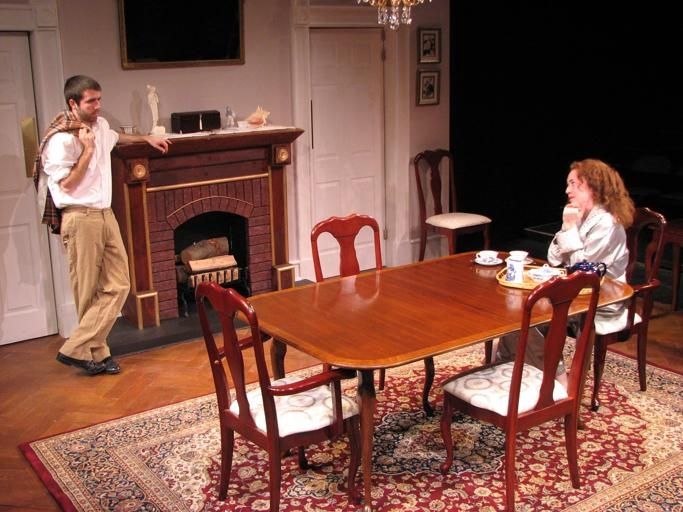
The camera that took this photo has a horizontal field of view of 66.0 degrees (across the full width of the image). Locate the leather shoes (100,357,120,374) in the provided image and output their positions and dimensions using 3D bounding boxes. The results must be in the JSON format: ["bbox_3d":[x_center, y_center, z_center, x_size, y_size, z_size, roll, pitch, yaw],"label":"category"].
[{"bbox_3d":[-1.783,0.825,4.036,0.083,0.070,0.179,-16,23,-40],"label":"leather shoes"}]

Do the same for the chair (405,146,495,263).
[{"bbox_3d":[1.261,-0.510,5.894,0.818,1.255,0.824,-4,17,-13],"label":"chair"}]

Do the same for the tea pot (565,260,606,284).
[{"bbox_3d":[1.413,0.063,3.017,0.259,0.128,0.195,2,13,35],"label":"tea pot"}]

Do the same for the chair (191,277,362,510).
[{"bbox_3d":[-0.323,0.743,2.711,0.681,1.104,0.689,-23,32,-39],"label":"chair"}]

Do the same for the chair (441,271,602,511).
[{"bbox_3d":[0.880,0.607,2.632,0.604,1.159,0.509,-13,17,-31],"label":"chair"}]

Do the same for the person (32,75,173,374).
[{"bbox_3d":[-1.890,-0.207,3.967,0.817,2.174,0.500,-14,18,-35],"label":"person"}]

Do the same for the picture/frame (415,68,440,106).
[{"bbox_3d":[0.952,-1.906,5.893,0.405,0.436,0.046,-11,18,-34],"label":"picture/frame"}]

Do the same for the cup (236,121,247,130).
[{"bbox_3d":[-0.926,-1.208,4.856,0.084,0.056,0.082,-3,21,1],"label":"cup"}]

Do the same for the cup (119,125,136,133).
[{"bbox_3d":[-1.803,-1.064,4.404,0.099,0.083,0.080,-1,20,-9],"label":"cup"}]
